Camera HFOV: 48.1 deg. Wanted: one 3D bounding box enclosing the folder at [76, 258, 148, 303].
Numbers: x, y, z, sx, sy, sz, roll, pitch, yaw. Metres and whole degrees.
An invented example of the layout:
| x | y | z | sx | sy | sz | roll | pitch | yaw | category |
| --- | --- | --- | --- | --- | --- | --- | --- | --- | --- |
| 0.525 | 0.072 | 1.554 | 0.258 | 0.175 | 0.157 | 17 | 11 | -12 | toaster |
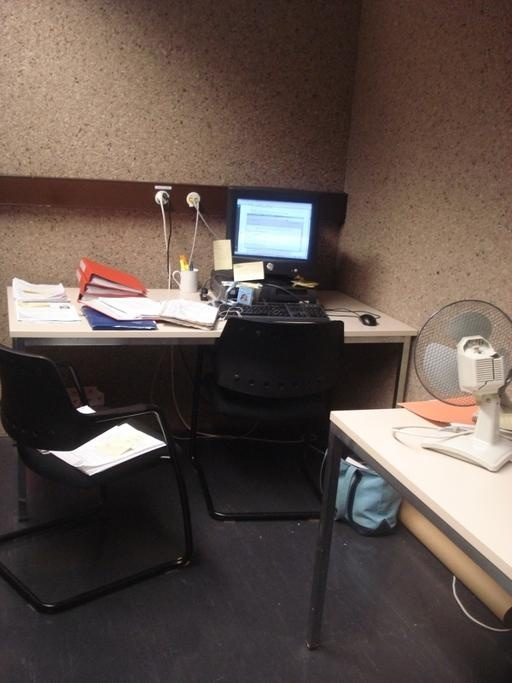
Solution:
| x | y | z | sx | sy | sz | roll | pitch | yaw | category |
| --- | --- | --- | --- | --- | --- | --- | --- | --- | --- |
| -0.562 | -0.278 | 2.168 | 0.197 | 0.076 | 0.205 | 9 | 16 | -28 | folder |

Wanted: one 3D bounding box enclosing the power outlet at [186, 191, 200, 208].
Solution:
| x | y | z | sx | sy | sz | roll | pitch | yaw | category |
| --- | --- | --- | --- | --- | --- | --- | --- | --- | --- |
| -0.263 | -0.599 | 2.426 | 0.067 | 0.072 | 0.061 | 2 | 33 | 1 | power outlet |

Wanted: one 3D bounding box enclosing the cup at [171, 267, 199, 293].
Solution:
| x | y | z | sx | sy | sz | roll | pitch | yaw | category |
| --- | --- | --- | --- | --- | --- | --- | --- | --- | --- |
| -0.286 | -0.264 | 2.443 | 0.135 | 0.124 | 0.086 | -2 | 23 | -15 | cup |

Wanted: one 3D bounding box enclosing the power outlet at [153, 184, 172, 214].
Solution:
| x | y | z | sx | sy | sz | roll | pitch | yaw | category |
| --- | --- | --- | --- | --- | --- | --- | --- | --- | --- |
| -0.390 | -0.597 | 2.408 | 0.072 | 0.110 | 0.049 | 0 | 20 | -11 | power outlet |

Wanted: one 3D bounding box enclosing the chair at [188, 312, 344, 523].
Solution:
| x | y | z | sx | sy | sz | roll | pitch | yaw | category |
| --- | --- | --- | --- | --- | --- | --- | --- | --- | --- |
| 0.050 | 0.188 | 2.127 | 0.521 | 0.753 | 0.561 | -4 | 20 | -23 | chair |

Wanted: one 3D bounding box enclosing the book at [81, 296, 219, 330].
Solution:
| x | y | z | sx | sy | sz | roll | pitch | yaw | category |
| --- | --- | --- | --- | --- | --- | --- | --- | --- | --- |
| -0.371 | -0.116 | 2.028 | 0.473 | 0.041 | 0.328 | 2 | 20 | -7 | book |

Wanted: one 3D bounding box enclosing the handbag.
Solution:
| x | y | z | sx | sy | sz | roll | pitch | yaw | category |
| --- | --- | --- | --- | --- | --- | --- | --- | --- | --- |
| 0.374 | 0.513 | 2.048 | 0.161 | 0.281 | 0.279 | 8 | 1 | -29 | handbag |
